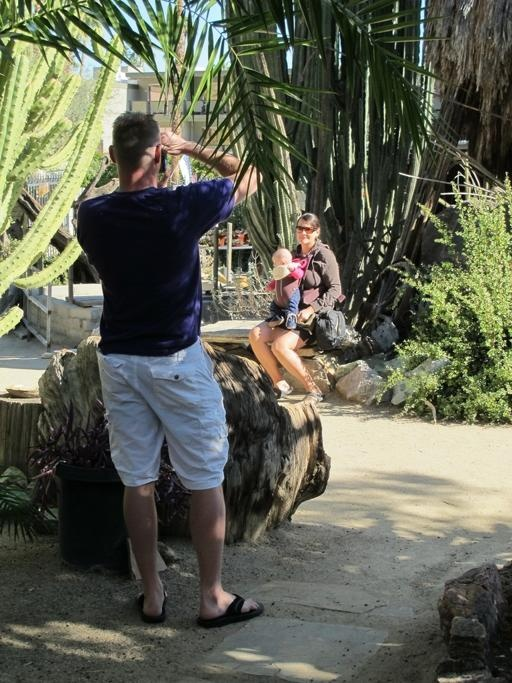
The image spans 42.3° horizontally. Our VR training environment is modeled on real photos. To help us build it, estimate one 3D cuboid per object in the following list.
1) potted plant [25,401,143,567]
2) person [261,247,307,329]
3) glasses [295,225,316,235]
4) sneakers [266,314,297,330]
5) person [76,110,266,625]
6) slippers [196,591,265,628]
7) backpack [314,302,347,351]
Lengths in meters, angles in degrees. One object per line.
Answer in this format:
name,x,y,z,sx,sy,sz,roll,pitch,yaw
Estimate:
potted plant,-0.586,0.635,2.743,0.480,0.470,0.376,8,-13,-2
person,0.284,-0.459,5.931,0.350,0.692,0.419,1,-1,-3
glasses,0.445,-1.018,5.989,0.182,0.079,0.093,0,-1,21
sneakers,0.243,-0.175,5.959,0.198,0.099,0.147,-1,-7,34
person,-0.287,0.071,2.229,0.616,1.694,0.430,1,-1,-14
slippers,-0.079,0.866,2.179,0.176,0.053,0.086,-7,7,-24
backpack,0.691,-0.106,6.313,0.387,0.439,0.653,-2,-3,1
